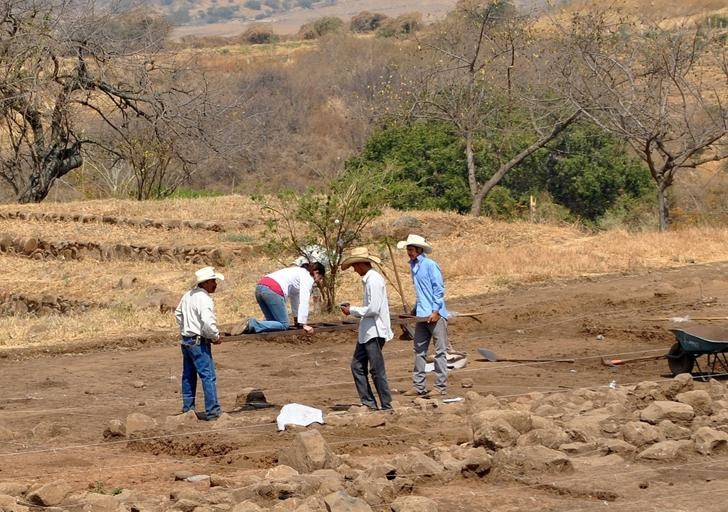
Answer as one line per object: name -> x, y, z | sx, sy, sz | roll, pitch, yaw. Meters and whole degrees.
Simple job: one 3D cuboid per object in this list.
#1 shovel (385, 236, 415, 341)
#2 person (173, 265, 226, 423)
shovel -> 0.890, 0.799, 28.566 | 0.577, 2.727, 0.687 | -8, 10, 11
person -> -3.619, 2.000, 25.792 | 1.170, 3.240, 1.393 | -4, 9, -36
